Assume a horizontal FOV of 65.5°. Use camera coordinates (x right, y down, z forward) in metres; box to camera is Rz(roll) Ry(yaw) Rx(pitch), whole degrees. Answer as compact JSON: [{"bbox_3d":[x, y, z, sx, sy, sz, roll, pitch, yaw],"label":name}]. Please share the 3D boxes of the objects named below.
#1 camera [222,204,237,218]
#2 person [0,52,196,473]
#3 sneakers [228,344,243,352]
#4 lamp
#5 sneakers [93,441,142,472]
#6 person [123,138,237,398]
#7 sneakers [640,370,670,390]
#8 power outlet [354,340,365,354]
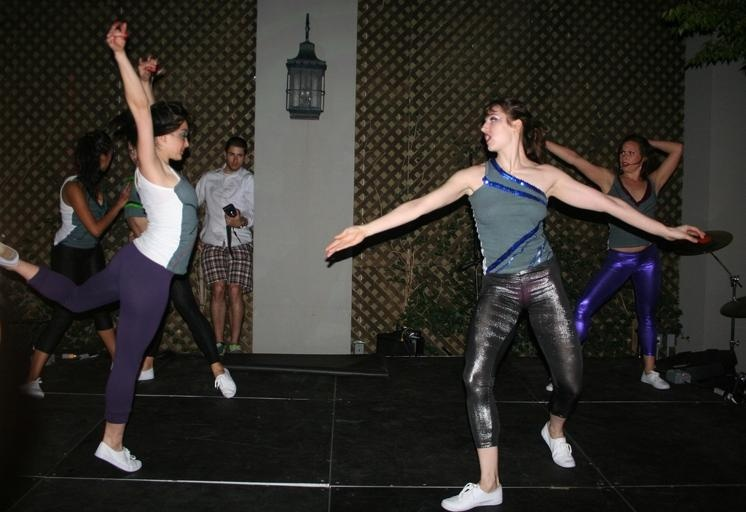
[{"bbox_3d":[-1.659,-0.538,6.750,0.117,0.069,0.154,-28,56,-20],"label":"camera"},{"bbox_3d":[-1.790,0.072,4.140,1.021,2.924,0.546,-1,12,-16],"label":"person"},{"bbox_3d":[-1.620,1.089,6.833,0.100,0.117,0.178,-2,-18,0],"label":"sneakers"},{"bbox_3d":[-0.775,-2.189,6.718,0.432,1.193,0.275,1,11,-9],"label":"lamp"},{"bbox_3d":[-1.811,1.450,4.242,0.362,0.171,0.170,32,2,-21],"label":"sneakers"},{"bbox_3d":[-1.692,0.165,5.212,1.114,2.370,0.657,9,20,14],"label":"person"},{"bbox_3d":[2.830,1.239,5.806,0.121,0.121,0.296,-3,-3,-16],"label":"sneakers"},{"bbox_3d":[-0.168,1.084,6.920,0.135,0.138,0.132,3,-9,-9],"label":"power outlet"}]
